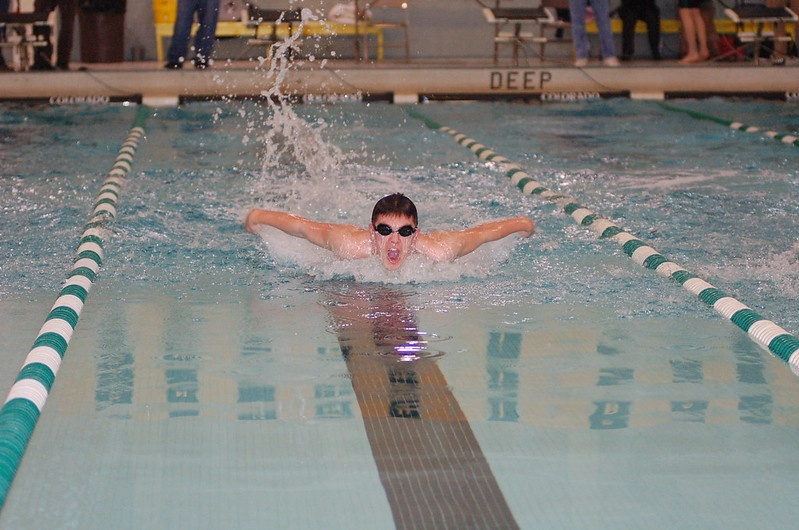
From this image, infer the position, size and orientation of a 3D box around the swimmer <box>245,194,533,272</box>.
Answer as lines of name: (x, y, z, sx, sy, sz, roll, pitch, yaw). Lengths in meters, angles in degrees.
swimmer: (-0.028, -0.187, 3.798, 1.403, 0.350, 0.415, -4, 16, -10)
